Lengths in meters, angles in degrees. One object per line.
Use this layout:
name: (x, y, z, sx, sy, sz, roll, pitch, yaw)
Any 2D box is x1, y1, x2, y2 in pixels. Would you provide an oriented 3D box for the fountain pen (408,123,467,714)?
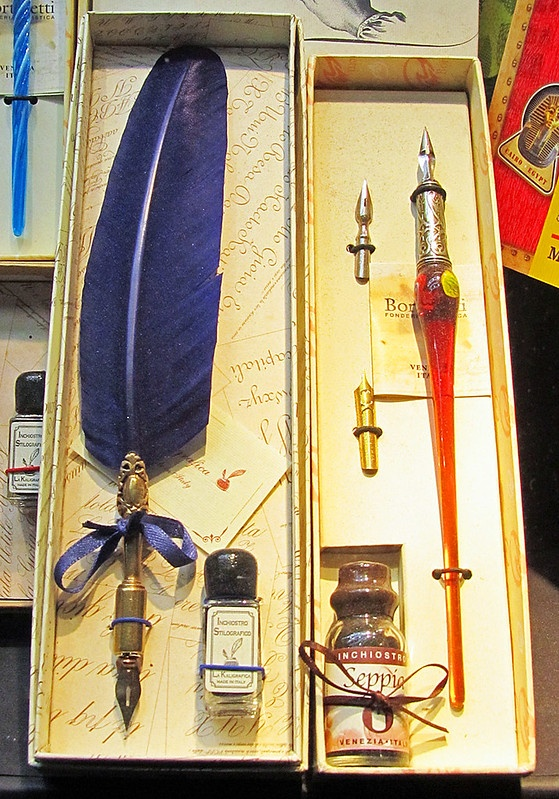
fountain pen: (0.206, -0.020, 1.161, 0.150, 0.524, 0.218, -6, 20, -4)

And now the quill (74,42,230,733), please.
quill: (-0.157, -0.042, 1.128, 0.159, 0.798, 0.040, 2, -12, -6)

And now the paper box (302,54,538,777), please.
paper box: (0.179, -0.052, 1.113, 0.272, 0.916, 0.125, 2, -12, -2)

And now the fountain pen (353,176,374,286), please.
fountain pen: (0.118, -0.238, 1.265, 0.035, 0.137, 0.039, 2, 2, 34)

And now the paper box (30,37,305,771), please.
paper box: (-0.123, -0.044, 1.187, 0.333, 0.867, 0.124, 1, -10, -4)

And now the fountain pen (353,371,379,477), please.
fountain pen: (0.115, 0.029, 1.183, 0.041, 0.133, 0.040, -4, -15, 10)
